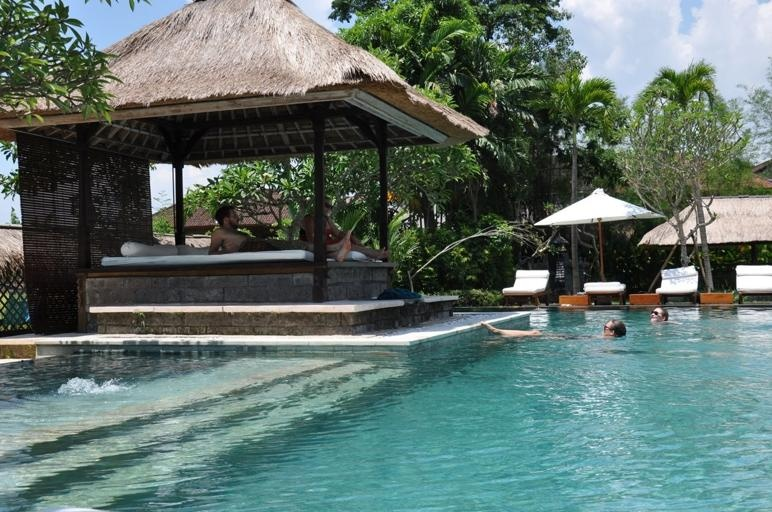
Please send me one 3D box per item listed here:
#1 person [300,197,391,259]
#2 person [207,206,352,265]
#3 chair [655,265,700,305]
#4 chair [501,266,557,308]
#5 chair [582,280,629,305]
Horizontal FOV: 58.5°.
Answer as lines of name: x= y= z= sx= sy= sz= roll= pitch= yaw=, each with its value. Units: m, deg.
person: x=-0.780 y=-0.482 z=13.225 sx=1.896 sy=1.149 sz=0.763 roll=9 pitch=9 yaw=26
person: x=-1.963 y=-0.425 z=12.705 sx=2.776 sy=1.065 sz=1.347 roll=-1 pitch=4 yaw=30
chair: x=7.680 y=0.712 z=18.113 sx=0.968 sy=0.756 sz=1.250 roll=-1 pitch=1 yaw=25
chair: x=3.910 y=0.887 z=19.070 sx=1.128 sy=0.848 sz=1.458 roll=-2 pitch=6 yaw=25
chair: x=6.016 y=0.994 z=18.790 sx=0.945 sy=0.644 sz=1.356 roll=3 pitch=8 yaw=22
